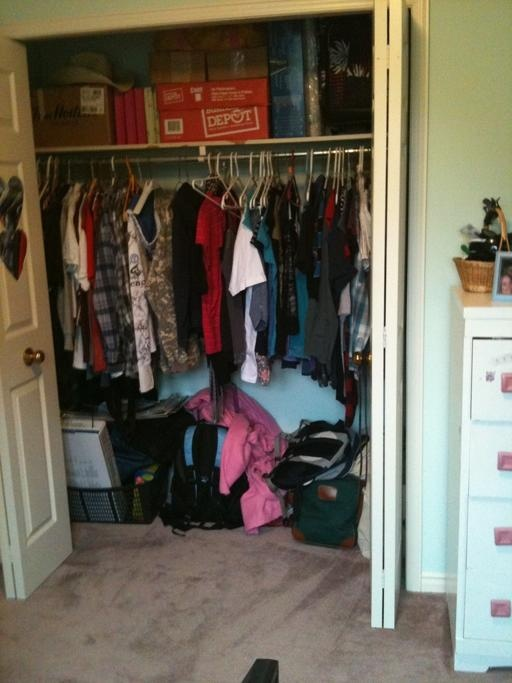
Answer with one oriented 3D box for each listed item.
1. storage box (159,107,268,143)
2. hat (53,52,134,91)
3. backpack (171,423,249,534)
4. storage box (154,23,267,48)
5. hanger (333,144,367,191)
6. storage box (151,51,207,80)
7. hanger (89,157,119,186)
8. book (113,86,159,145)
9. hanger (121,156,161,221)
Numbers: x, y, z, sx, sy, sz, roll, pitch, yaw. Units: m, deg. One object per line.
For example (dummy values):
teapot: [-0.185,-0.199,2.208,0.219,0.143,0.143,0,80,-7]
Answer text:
storage box: [-0.199,-1.001,2.712,0.518,0.154,0.041,1,6,12]
hat: [-0.812,-1.298,2.834,0.260,0.139,0.246,8,14,33]
backpack: [-0.246,0.625,2.797,0.356,0.537,0.383,0,-7,11]
storage box: [-0.220,-1.391,2.700,0.532,0.121,0.050,0,6,11]
hanger: [0.420,-0.772,2.589,0.025,0.326,0.235,2,10,34]
storage box: [-0.350,-1.261,2.696,0.205,0.149,0.118,3,8,8]
hanger: [-0.755,-0.840,2.940,0.148,0.162,0.433,-3,7,-16]
book: [-0.576,-1.074,2.981,0.209,0.373,0.329,-1,4,1]
hanger: [-0.539,-0.721,2.762,0.151,0.178,0.347,0,35,0]
